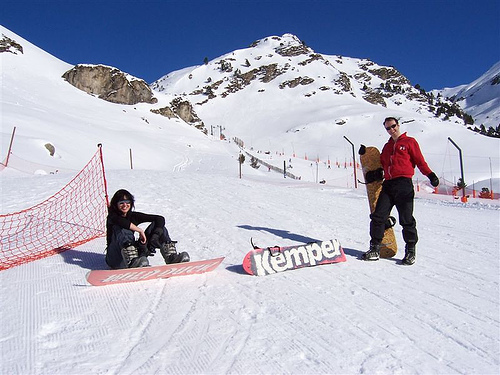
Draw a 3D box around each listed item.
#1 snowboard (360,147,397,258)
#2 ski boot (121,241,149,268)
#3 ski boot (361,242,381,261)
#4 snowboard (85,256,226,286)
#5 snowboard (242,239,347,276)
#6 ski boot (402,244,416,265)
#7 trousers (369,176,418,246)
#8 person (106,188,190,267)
[{"bbox_3d":[2.120,0.222,6.299,0.505,1.878,0.558,-5,-14,3],"label":"snowboard"},{"bbox_3d":[-1.599,0.918,5.101,0.380,0.329,0.230,13,19,42],"label":"ski boot"},{"bbox_3d":[1.951,1.010,5.849,0.360,0.275,0.129,-7,16,-25],"label":"ski boot"},{"bbox_3d":[-1.308,1.177,5.165,1.692,0.180,0.261,-3,-27,-21],"label":"snowboard"},{"bbox_3d":[0.646,1.067,5.739,1.927,0.560,0.287,-9,-3,-24],"label":"snowboard"},{"bbox_3d":[2.461,1.004,5.705,0.167,0.333,0.334,7,16,29],"label":"ski boot"},{"bbox_3d":[2.242,0.374,5.747,0.677,1.102,0.382,5,15,19],"label":"trousers"},{"bbox_3d":[-1.601,0.578,5.352,1.204,1.239,0.882,-7,-8,15],"label":"person"}]
